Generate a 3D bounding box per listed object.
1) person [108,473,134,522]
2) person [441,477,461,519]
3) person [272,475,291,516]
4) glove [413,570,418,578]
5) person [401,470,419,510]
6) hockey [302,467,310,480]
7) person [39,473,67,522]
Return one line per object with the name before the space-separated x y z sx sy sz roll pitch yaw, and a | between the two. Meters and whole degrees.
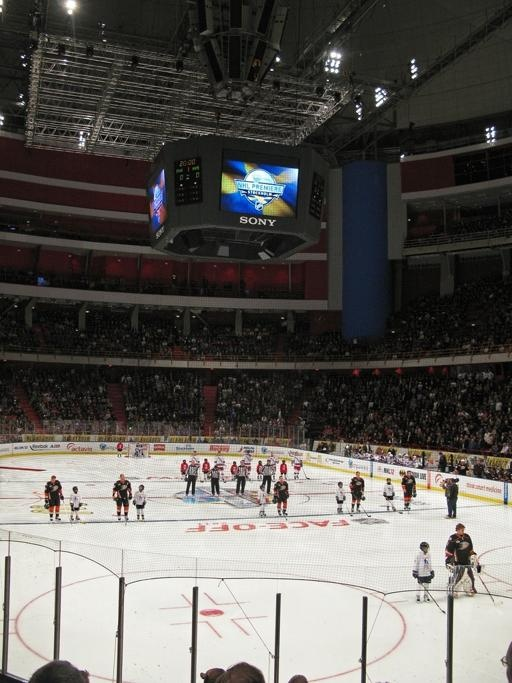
person | -3.522 4.026 18.297 0.430 1.336 2.229 1 -3 -10
person | 5.471 4.385 19.701 0.374 1.144 1.740 0 -3 15
person | 0.684 4.302 19.170 0.383 1.070 1.116 1 -3 2
glove | 2.494 3.681 10.960 0.083 0.115 0.043 2 8 10
person | 4.424 4.382 20.233 0.333 1.217 0.869 0 -3 12
hockey | 2.198 5.914 31.127 0.548 0.082 1.777 -8 0 3
person | -5.135 3.964 17.724 0.399 1.174 1.347 2 -3 -15
